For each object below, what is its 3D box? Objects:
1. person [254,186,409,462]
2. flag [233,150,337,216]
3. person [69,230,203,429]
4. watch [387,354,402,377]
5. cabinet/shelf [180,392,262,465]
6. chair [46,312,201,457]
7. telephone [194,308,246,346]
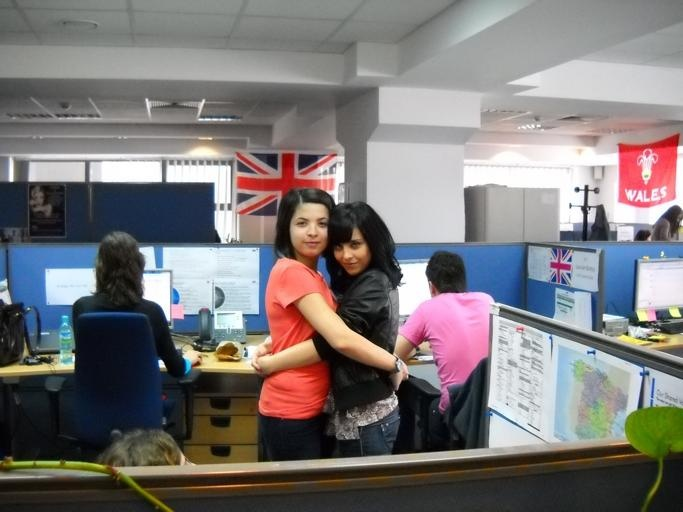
[{"bbox_3d":[-0.066,0.226,1.859,0.381,0.916,0.416,-5,5,-34],"label":"person"},{"bbox_3d":[-0.856,-1.032,7.418,1.568,1.027,0.019,-1,6,-6],"label":"flag"},{"bbox_3d":[-1.068,0.412,2.739,0.684,1.058,0.519,0,8,-12],"label":"person"},{"bbox_3d":[0.180,0.356,1.791,0.053,0.062,0.040,-2,1,19],"label":"watch"},{"bbox_3d":[-0.679,0.993,3.158,0.390,0.393,0.213,2,-11,-11],"label":"cabinet/shelf"},{"bbox_3d":[-0.997,0.545,2.365,0.438,0.641,0.211,-3,4,-6],"label":"chair"},{"bbox_3d":[-0.708,0.423,3.299,0.275,0.206,0.200,0,-5,-10],"label":"telephone"}]
